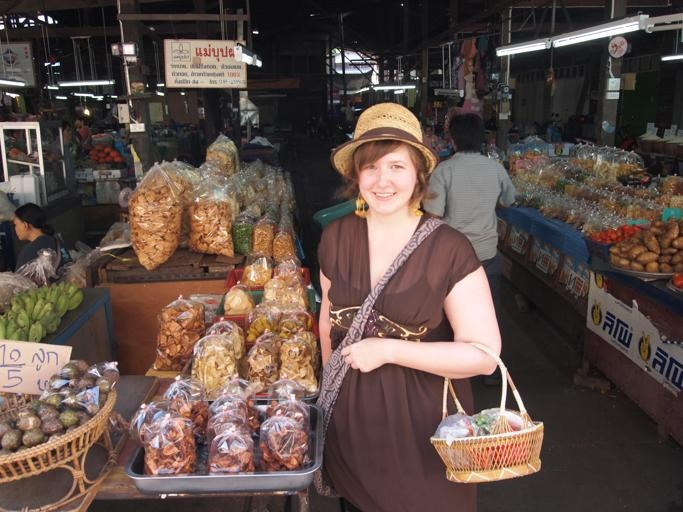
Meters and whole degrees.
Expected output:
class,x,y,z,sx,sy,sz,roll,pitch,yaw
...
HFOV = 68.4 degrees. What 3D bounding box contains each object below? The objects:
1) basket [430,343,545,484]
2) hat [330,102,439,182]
class,x,y,z,sx,sy,sz,roll,pitch,yaw
basket,0.538,0.703,1.889,0.367,0.656,0.395,5,18,18
hat,0.173,-0.471,2.131,0.460,0.339,0.289,3,18,11
